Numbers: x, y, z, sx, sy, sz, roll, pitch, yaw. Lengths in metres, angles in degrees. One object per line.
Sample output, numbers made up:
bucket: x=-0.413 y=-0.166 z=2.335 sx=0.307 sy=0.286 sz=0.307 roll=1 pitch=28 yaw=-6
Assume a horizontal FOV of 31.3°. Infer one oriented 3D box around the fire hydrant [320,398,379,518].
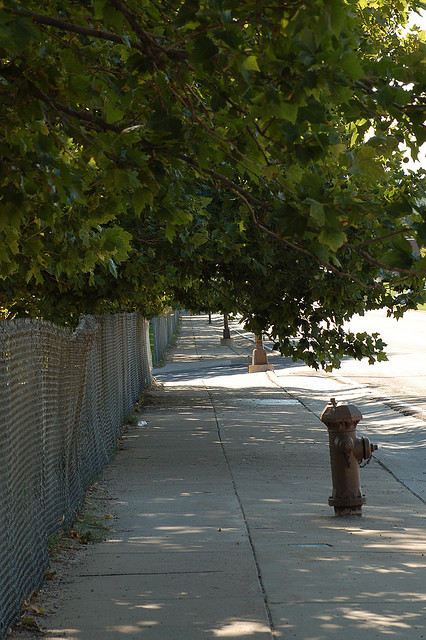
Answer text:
fire hydrant: x=1.305 y=1.382 z=7.742 sx=0.508 sy=0.802 sz=0.566 roll=1 pitch=-2 yaw=37
